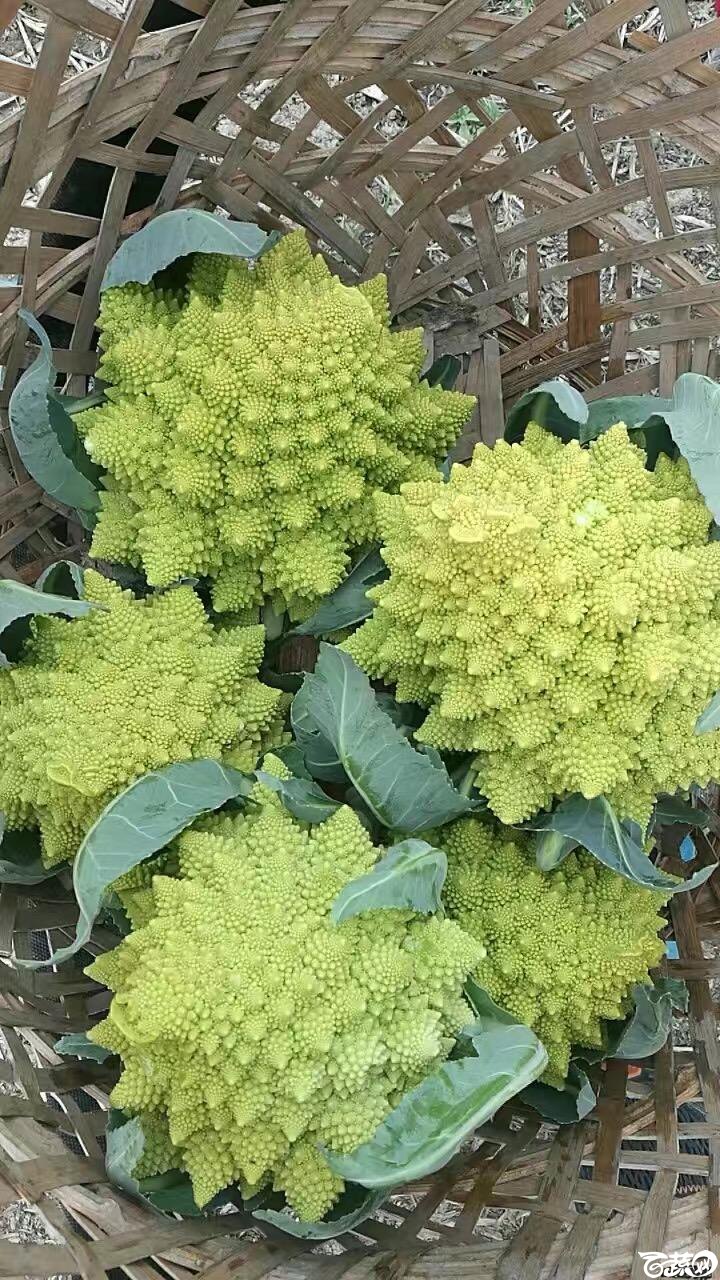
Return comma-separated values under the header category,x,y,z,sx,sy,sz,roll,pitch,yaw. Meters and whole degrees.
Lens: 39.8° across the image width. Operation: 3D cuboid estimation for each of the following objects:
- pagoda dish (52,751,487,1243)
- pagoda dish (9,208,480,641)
category,x,y,z,sx,sy,sz,roll,pitch,yaw
pagoda dish,-0.136,0.628,1.653,0.551,0.532,0.501,-30,38,-35
pagoda dish,-0.239,-0.412,2.098,0.798,0.778,0.378,-34,11,-2
